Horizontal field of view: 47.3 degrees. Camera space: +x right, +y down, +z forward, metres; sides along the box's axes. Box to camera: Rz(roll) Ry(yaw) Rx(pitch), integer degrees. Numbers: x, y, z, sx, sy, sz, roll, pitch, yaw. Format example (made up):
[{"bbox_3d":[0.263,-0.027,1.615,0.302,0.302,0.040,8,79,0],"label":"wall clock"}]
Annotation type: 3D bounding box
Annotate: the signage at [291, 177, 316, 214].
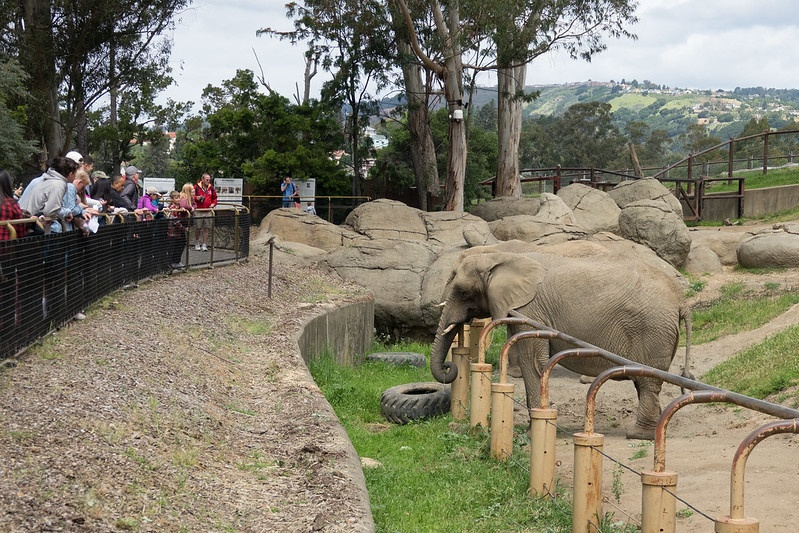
[{"bbox_3d":[-3.777,-2.958,36.551,1.372,1.549,2.689,1,1,-4],"label":"signage"}]
